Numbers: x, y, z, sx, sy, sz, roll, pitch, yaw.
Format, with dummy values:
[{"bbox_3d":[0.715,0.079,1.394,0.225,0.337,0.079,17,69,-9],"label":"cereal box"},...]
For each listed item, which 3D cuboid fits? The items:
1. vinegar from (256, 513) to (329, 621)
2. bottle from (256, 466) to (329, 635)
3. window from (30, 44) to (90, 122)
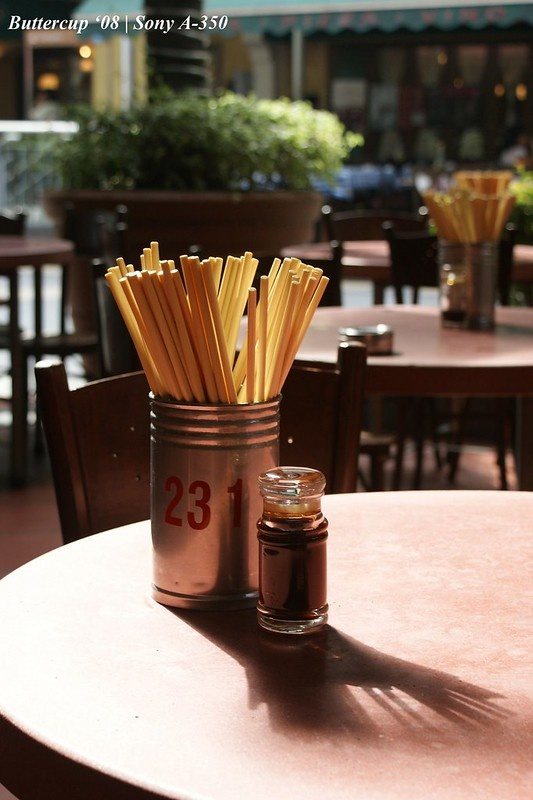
[{"bbox_3d":[0.017,0.117,0.574,0.070,0.096,0.065,-1,1,2],"label":"vinegar"},{"bbox_3d":[0.017,0.105,0.544,0.055,0.101,0.051,0,-2,0],"label":"bottle"},{"bbox_3d":[-3.565,-5.604,13.496,1.271,0.954,0.399,4,10,22],"label":"window"}]
